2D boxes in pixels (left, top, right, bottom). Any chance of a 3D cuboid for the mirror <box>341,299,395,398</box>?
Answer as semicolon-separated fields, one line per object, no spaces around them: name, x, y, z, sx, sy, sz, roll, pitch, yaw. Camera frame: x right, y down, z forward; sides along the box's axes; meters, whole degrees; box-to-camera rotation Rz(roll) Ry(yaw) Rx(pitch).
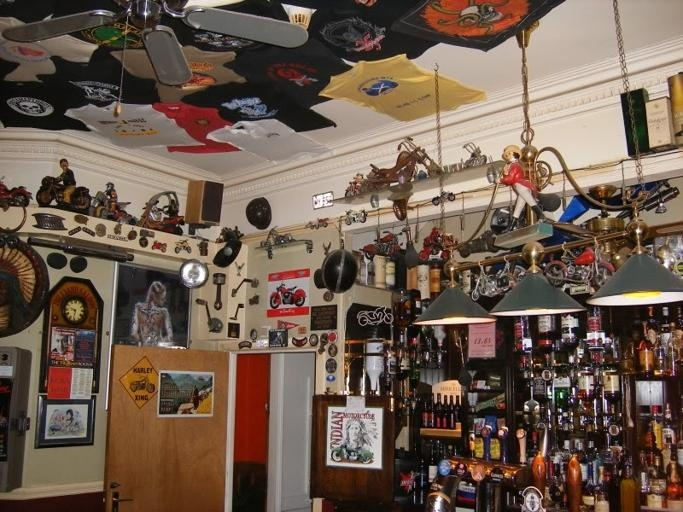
mirror;0.387;0.989;7.085;0.664;0.983;0.406;12;-17;-42

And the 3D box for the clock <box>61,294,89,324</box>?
clock;-2.887;0.578;7.043;0.015;0.305;0.285;-10;-16;41

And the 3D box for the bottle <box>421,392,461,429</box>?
bottle;1.154;1.786;7.460;0.430;0.378;0.131;-8;-23;33

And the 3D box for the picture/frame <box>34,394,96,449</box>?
picture/frame;-2.949;1.751;6.865;0.088;0.633;0.673;-10;-11;40
